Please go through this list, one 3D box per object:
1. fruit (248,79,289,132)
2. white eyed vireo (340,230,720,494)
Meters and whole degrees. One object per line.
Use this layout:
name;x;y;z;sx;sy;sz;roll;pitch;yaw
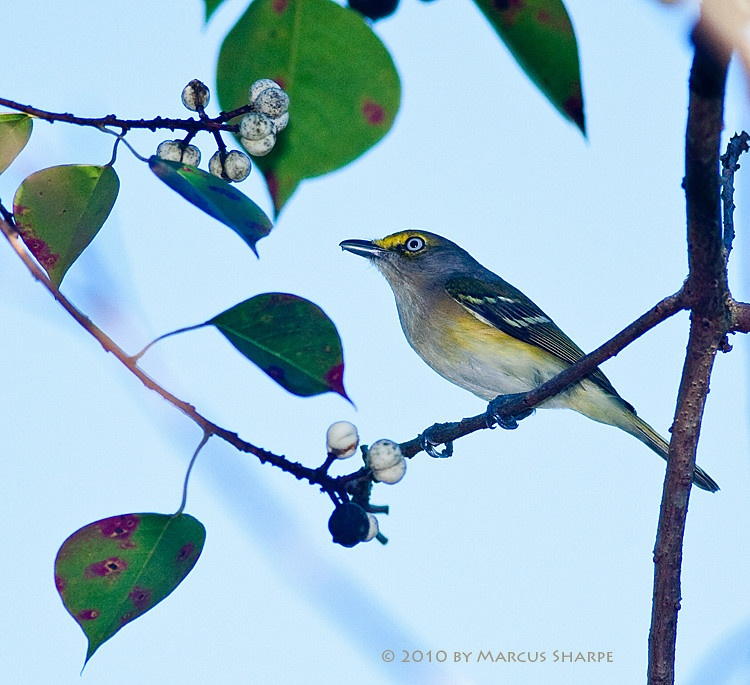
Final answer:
fruit;-0.289;-0.639;3.380;0.105;0.158;0.108;-13;43;-7
white eyed vireo;0.497;-0.026;4.974;0.678;0.574;1.396;-35;54;-25
